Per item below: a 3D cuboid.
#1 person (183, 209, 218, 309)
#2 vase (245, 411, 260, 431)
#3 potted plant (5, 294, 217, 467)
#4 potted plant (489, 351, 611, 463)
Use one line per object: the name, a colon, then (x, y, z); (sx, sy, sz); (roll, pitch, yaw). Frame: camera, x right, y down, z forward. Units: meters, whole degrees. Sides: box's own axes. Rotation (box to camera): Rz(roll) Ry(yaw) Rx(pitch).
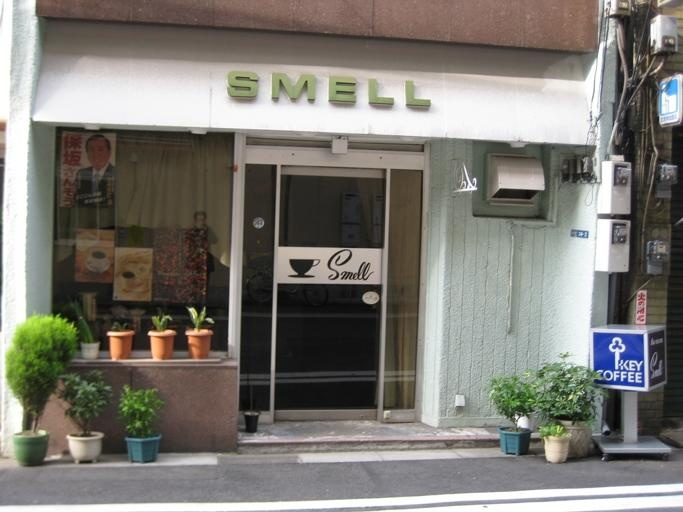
person: (-1.957, 0.052, 12.822); (0.407, 1.324, 0.235); (0, 10, -8)
vase: (-1.248, 2.303, 12.637); (0.233, 0.283, 0.243); (5, -9, -19)
potted plant: (-3.085, 1.722, 11.931); (3.477, 1.858, 1.630); (1, -5, -12)
potted plant: (2.848, 2.060, 12.771); (1.817, 1.651, 1.246); (1, 1, 9)
